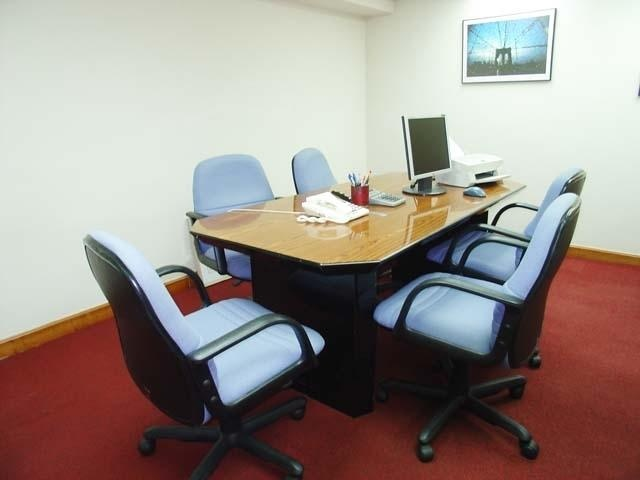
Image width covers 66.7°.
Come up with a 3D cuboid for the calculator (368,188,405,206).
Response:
[{"bbox_3d":[0.451,-0.291,3.454,0.183,0.058,0.139,12,23,33],"label":"calculator"}]

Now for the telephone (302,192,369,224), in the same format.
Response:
[{"bbox_3d":[0.062,-0.213,3.198,0.310,0.101,0.243,19,27,35],"label":"telephone"}]

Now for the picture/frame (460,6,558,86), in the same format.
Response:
[{"bbox_3d":[1.923,-1.965,4.876,0.844,0.640,0.020,13,25,43],"label":"picture/frame"}]

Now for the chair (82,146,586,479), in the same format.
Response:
[{"bbox_3d":[-0.183,0.317,3.171,1.174,1.369,2.302,19,27,41],"label":"chair"}]

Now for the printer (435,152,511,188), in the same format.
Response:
[{"bbox_3d":[1.213,-0.560,3.950,0.422,0.201,0.316,-14,21,-34],"label":"printer"}]
